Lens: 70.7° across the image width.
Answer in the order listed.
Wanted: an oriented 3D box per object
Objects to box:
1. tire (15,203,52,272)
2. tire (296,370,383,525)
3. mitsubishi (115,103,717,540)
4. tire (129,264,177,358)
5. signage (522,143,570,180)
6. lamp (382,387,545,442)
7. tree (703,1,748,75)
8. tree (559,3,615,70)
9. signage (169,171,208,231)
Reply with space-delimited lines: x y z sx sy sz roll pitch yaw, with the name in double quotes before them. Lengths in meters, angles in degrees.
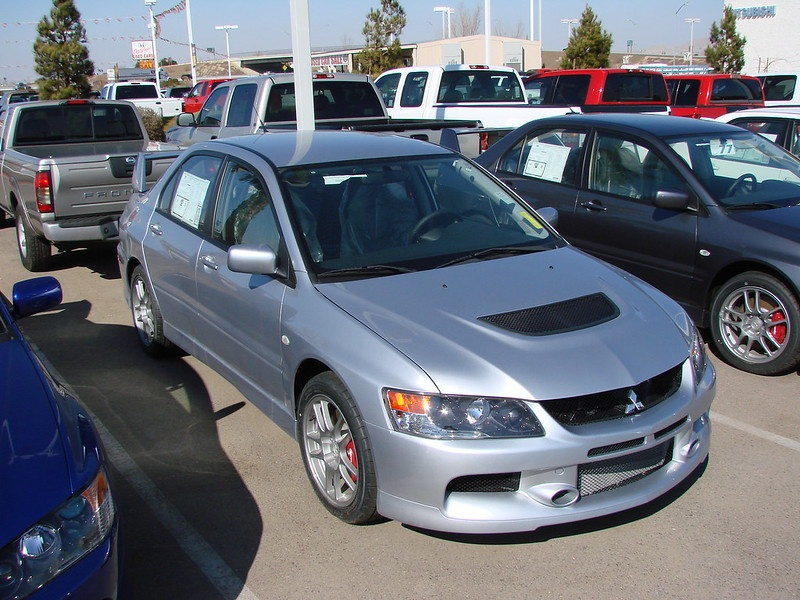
"tire" -5.172 -0.879 7.926 0.270 0.817 0.775 -2 58 -32
"tire" -0.361 0.827 3.179 0.167 0.827 0.761 -15 23 -33
"mitsubishi" -0.380 -0.111 4.154 2.172 1.331 4.418 -13 21 -36
"tire" -2.236 0.094 5.101 0.288 0.685 0.751 -10 28 -35
"signage" 1.722 -1.585 6.562 0.058 0.358 0.511 7 15 -42
"lamp" 0.334 0.568 2.699 0.695 0.188 0.113 2 20 7
"tree" 23.354 -18.496 40.112 2.447 5.135 7.476 10 20 26
"tree" 13.080 -17.919 39.015 2.715 3.870 2.425 3 20 10
"signage" -1.739 -0.788 4.636 0.061 0.363 0.553 7 19 -41
